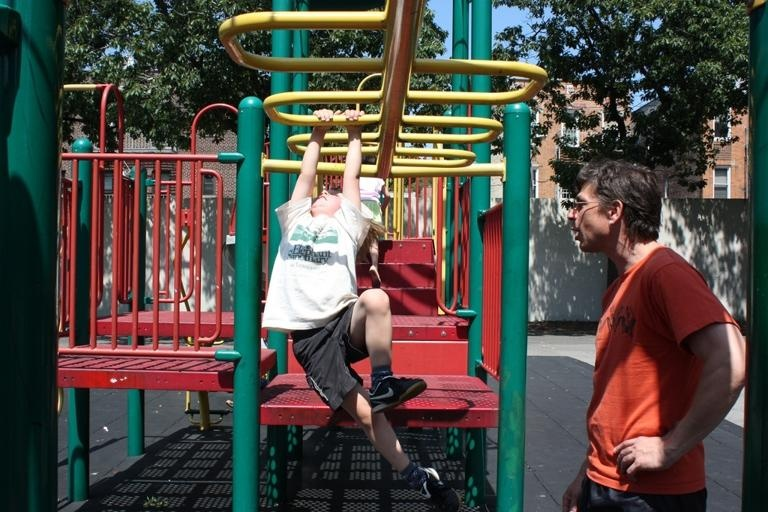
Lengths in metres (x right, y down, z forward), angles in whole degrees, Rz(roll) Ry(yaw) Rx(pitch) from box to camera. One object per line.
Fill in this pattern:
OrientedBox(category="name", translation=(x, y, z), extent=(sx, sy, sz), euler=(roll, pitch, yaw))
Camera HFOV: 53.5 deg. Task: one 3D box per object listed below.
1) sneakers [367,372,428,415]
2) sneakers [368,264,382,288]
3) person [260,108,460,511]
OrientedBox(category="sneakers", translation=(0.046, 0.695, 3.943), extent=(0.352, 0.176, 0.136), euler=(-27, -17, 13))
OrientedBox(category="sneakers", translation=(-0.068, 0.182, 5.810), extent=(0.067, 0.107, 0.243), euler=(-4, -41, 3))
OrientedBox(category="person", translation=(-0.164, 0.269, 4.077), extent=(0.968, 1.920, 0.394), euler=(2, 5, 24))
